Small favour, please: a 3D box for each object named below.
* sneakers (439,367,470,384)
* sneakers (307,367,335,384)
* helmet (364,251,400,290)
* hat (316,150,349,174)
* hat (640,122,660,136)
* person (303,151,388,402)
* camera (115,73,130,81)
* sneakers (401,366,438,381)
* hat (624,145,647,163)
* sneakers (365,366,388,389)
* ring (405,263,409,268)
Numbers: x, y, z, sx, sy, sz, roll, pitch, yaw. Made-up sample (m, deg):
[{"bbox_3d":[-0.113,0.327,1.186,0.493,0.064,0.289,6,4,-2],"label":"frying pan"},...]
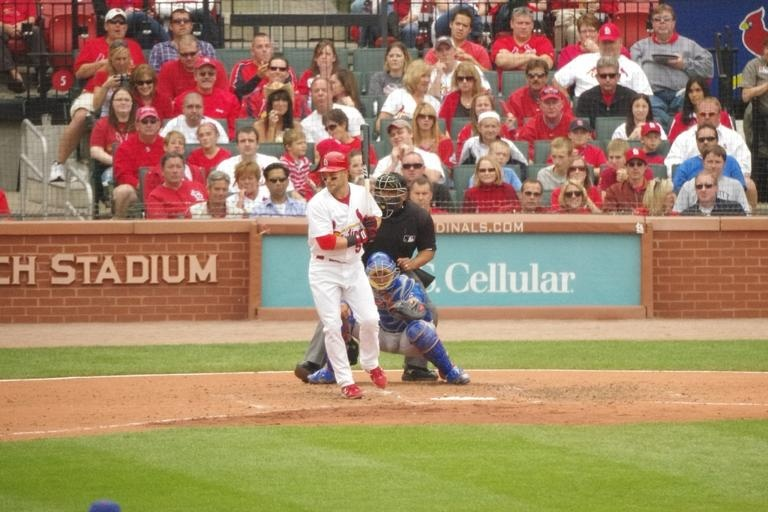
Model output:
[{"bbox_3d":[1.069,1.786,29.113,0.522,0.243,0.203,-3,11,-22],"label":"sneakers"},{"bbox_3d":[-0.958,1.794,29.040,0.513,0.226,0.184,0,7,-6],"label":"sneakers"},{"bbox_3d":[-0.071,0.221,28.535,0.498,0.412,0.493,-4,40,7],"label":"helmet"},{"bbox_3d":[-0.732,-1.378,28.127,0.337,0.238,0.448,-4,1,22],"label":"hat"},{"bbox_3d":[4.591,-2.230,33.757,0.338,0.235,0.253,0,6,8],"label":"hat"},{"bbox_3d":[-0.600,0.267,28.224,1.029,3.577,0.517,-1,6,-2],"label":"person"},{"bbox_3d":[-4.717,-3.228,34.699,0.241,0.121,0.311,-2,6,-10],"label":"camera"},{"bbox_3d":[0.499,1.774,29.389,0.572,0.236,0.203,-1,0,-2],"label":"sneakers"},{"bbox_3d":[4.238,-1.728,32.940,0.350,0.256,0.275,-1,6,1],"label":"hat"},{"bbox_3d":[-0.132,1.791,28.595,0.180,0.412,0.178,-27,4,7],"label":"sneakers"},{"bbox_3d":[0.297,0.123,28.602,0.028,0.055,0.029,36,20,-15],"label":"ring"}]
